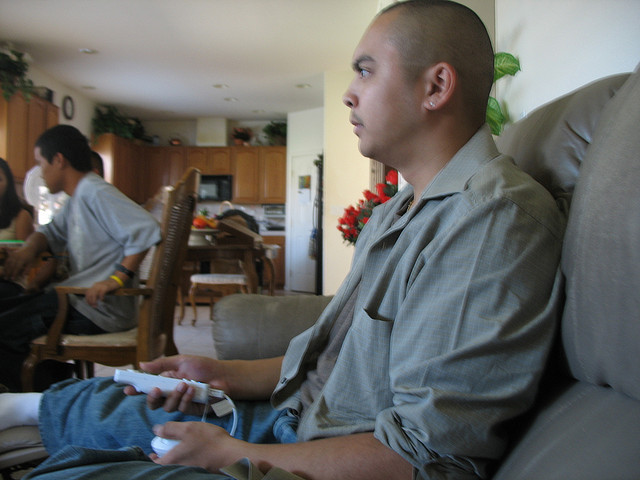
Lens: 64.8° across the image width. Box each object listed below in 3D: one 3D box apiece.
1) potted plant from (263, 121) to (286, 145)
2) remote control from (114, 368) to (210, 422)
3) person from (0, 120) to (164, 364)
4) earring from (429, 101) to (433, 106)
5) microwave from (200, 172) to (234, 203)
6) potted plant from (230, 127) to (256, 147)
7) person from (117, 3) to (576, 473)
[{"bbox_3d":[-0.813,-1.866,8.845,0.377,0.445,0.364,-3,9,-9],"label":"potted plant"},{"bbox_3d":[-0.364,0.351,1.147,0.248,0.119,0.076,2,0,17],"label":"remote control"},{"bbox_3d":[-1.049,0.101,2.728,0.981,1.452,0.701,1,-14,-12],"label":"person"},{"bbox_3d":[0.232,-0.290,1.065,0.006,0.004,0.003,-7,7,-44],"label":"earring"},{"bbox_3d":[-1.795,-0.920,8.941,0.699,0.563,0.439,2,0,-1],"label":"microwave"},{"bbox_3d":[-1.380,-1.859,8.979,0.347,0.268,0.373,2,-1,6],"label":"potted plant"},{"bbox_3d":[0.123,-0.075,1.339,0.889,1.025,0.980,2,1,4],"label":"person"}]
